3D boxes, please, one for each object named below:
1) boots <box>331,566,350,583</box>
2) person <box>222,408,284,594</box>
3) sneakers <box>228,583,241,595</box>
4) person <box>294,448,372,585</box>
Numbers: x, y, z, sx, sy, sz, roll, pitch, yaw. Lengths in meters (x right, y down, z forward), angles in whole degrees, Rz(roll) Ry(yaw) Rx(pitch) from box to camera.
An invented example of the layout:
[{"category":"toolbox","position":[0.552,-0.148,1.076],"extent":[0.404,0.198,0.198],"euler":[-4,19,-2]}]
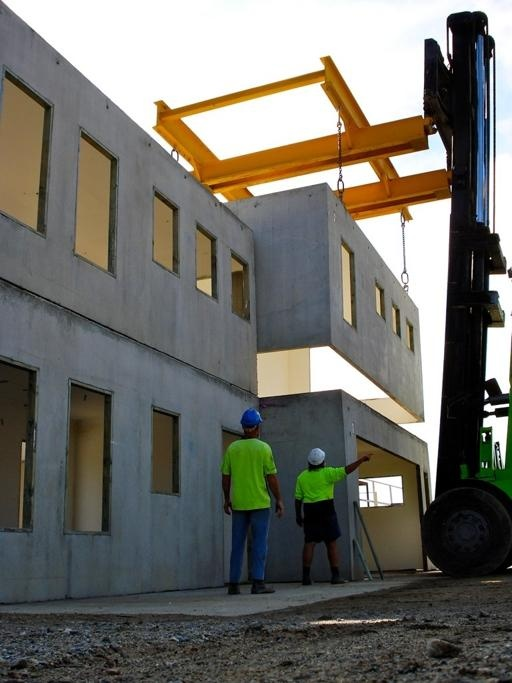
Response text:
[{"category":"boots","position":[0.976,2.825,9.051],"extent":[0.152,0.203,0.616],"euler":[-2,-15,5]},{"category":"person","position":[-0.062,1.563,7.079],"extent":[0.414,1.846,0.347],"euler":[-8,-39,11]},{"category":"sneakers","position":[-0.203,2.322,7.021],"extent":[0.104,0.101,0.362],"euler":[-1,-15,-3]},{"category":"person","position":[0.919,2.118,9.325],"extent":[0.713,1.969,0.437],"euler":[0,21,7]}]
